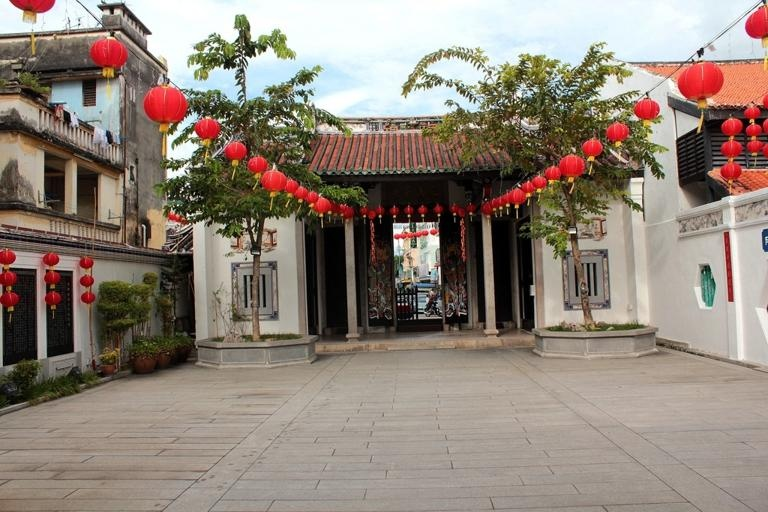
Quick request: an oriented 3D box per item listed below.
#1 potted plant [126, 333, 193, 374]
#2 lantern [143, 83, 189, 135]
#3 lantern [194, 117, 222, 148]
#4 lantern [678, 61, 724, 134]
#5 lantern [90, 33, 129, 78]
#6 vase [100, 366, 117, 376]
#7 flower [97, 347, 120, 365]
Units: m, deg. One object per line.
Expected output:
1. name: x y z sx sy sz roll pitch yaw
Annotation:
1. potted plant: -4.477 1.965 12.945 0.560 0.766 1.334 3 11 23
2. lantern: -3.061 -2.083 9.043 0.520 0.695 0.792 -6 11 -23
3. lantern: -2.827 -1.973 10.281 0.293 0.439 0.352 -9 12 -35
4. lantern: 4.369 -2.252 8.929 0.508 0.863 0.323 5 12 32
5. lantern: -3.680 -2.659 8.656 0.411 0.638 0.998 -6 11 -22
6. vase: -5.109 2.113 12.032 0.213 0.149 0.210 1 -2 -45
7. flower: -5.146 1.878 12.086 0.297 0.303 0.302 -4 -7 32
